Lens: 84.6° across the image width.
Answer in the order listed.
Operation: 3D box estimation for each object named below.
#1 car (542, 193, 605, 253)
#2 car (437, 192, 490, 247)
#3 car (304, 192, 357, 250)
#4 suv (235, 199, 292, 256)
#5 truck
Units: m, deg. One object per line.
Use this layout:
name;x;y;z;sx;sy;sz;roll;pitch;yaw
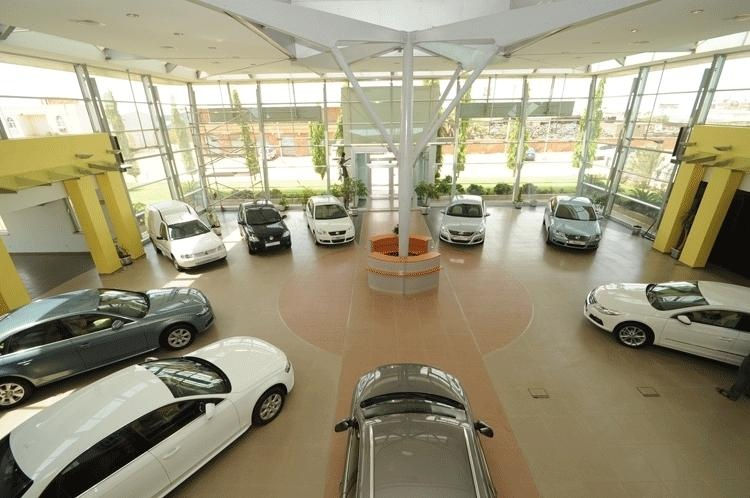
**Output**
car;8.638;-1.161;18.312;2.156;1.899;2.563;3;20;17
car;4.089;-1.469;18.953;1.455;1.020;3.007;4;25;14
car;-2.132;-1.330;18.989;1.463;1.025;2.968;-8;26;-14
suv;-5.011;-1.023;18.510;1.668;1.186;2.948;-10;27;-20
truck;-7.990;-0.525;17.380;2.171;1.613;4.037;-20;36;-36
